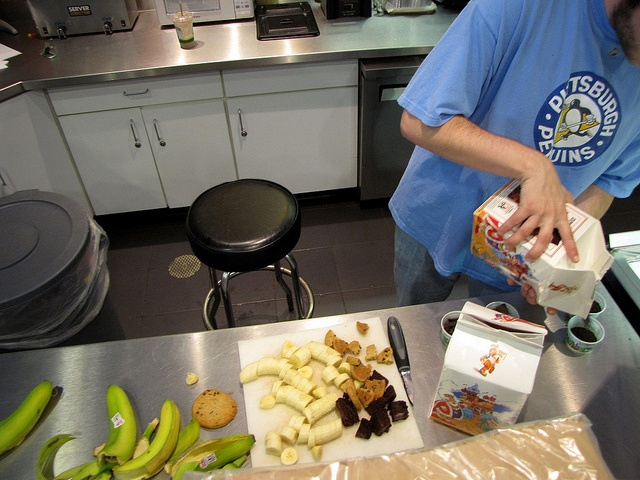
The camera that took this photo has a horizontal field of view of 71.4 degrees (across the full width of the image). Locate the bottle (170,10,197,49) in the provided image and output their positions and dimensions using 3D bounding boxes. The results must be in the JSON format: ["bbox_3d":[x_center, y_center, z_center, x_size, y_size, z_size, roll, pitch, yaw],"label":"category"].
[{"bbox_3d":[-0.776,-1.222,2.543,0.112,0.173,0.309,-13,42,-10],"label":"bottle"}]

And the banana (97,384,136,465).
[{"bbox_3d":[-0.523,0.474,1.156,0.074,0.070,0.188,-1,52,-16],"label":"banana"}]

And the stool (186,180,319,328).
[{"bbox_3d":[-0.317,0.205,2.045,0.550,0.900,0.449,-7,40,-3],"label":"stool"}]

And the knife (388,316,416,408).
[{"bbox_3d":[0.230,0.332,1.253,0.036,0.032,0.238,-3,50,-8],"label":"knife"}]

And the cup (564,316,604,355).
[{"bbox_3d":[0.757,0.268,1.264,0.114,0.065,0.088,4,42,9],"label":"cup"}]

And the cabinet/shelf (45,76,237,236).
[{"bbox_3d":[-1.084,-0.733,2.836,0.911,0.890,0.575,-11,47,-17],"label":"cabinet/shelf"}]
